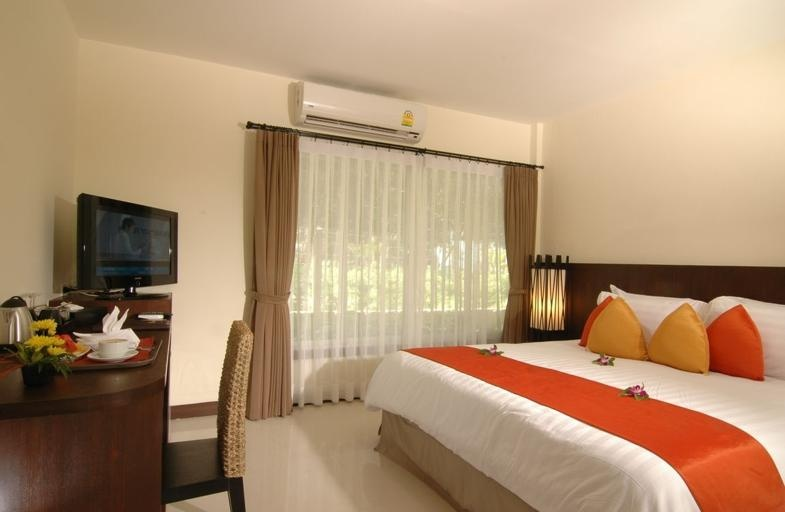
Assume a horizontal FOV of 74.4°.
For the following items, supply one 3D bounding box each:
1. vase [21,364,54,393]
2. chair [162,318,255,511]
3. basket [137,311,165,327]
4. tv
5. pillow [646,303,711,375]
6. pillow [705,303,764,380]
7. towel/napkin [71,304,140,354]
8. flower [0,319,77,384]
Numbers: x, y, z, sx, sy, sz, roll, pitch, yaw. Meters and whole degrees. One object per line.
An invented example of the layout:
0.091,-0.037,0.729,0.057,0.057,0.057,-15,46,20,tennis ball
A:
-1.779,0.620,2.599,0.126,0.093,0.108,2,-3,-2,vase
-1.075,0.931,3.011,0.512,0.971,0.494,-3,10,-23,chair
-1.820,0.486,3.910,0.147,0.054,0.163,2,0,-6,basket
-2.269,-0.072,4.374,0.125,0.805,0.954,-2,-3,25,tv
2.374,0.702,4.279,0.206,0.401,0.414,22,1,-25,pillow
2.698,0.694,4.073,0.202,0.557,0.521,10,-5,-25,pillow
-1.670,0.400,3.073,0.310,0.153,0.338,-1,0,-41,towel/napkin
-1.867,0.464,2.689,0.327,0.416,0.327,4,-6,-42,flower
